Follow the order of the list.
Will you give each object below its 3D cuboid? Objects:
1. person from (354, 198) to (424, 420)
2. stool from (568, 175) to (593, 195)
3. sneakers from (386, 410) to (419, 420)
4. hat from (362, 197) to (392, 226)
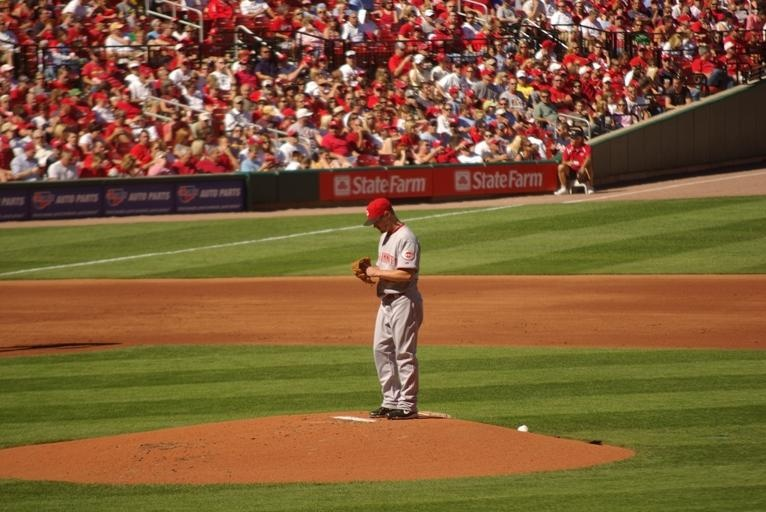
[{"bbox_3d":[0.160,0.896,31.064,1.105,3.952,0.736,1,4,-14],"label":"person"},{"bbox_3d":[5.124,-1.903,44.443,0.516,0.303,0.499,1,1,-30],"label":"stool"},{"bbox_3d":[0.353,2.846,31.022,0.551,0.221,0.188,4,-8,-4],"label":"sneakers"},{"bbox_3d":[-0.082,-0.861,31.090,0.623,0.322,0.404,-35,28,-16],"label":"hat"}]
